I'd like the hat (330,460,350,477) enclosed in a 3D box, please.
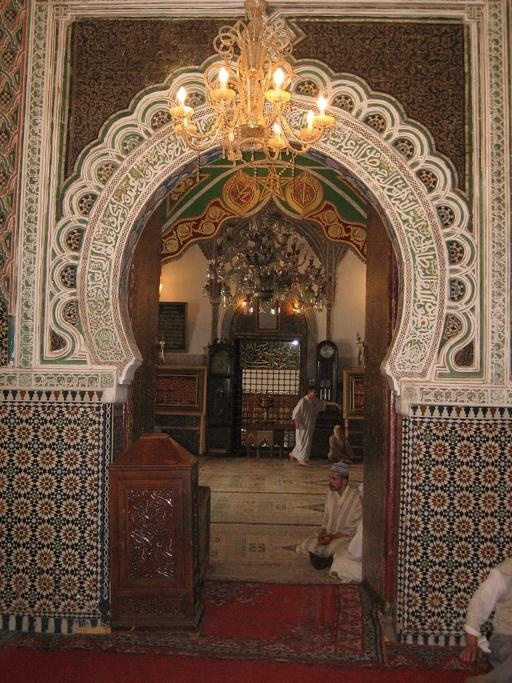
[{"bbox_3d":[0.541,0.820,4.847,0.104,0.075,0.107,0,10,-31],"label":"hat"}]

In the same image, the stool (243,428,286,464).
[{"bbox_3d":[0.079,1.390,10.173,0.555,0.341,0.485,1,0,-38],"label":"stool"}]

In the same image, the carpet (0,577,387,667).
[{"bbox_3d":[-0.188,1.322,3.642,1.524,0.085,1.036,0,-4,3],"label":"carpet"}]

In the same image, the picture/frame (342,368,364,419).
[{"bbox_3d":[1.275,0.703,9.900,0.250,0.641,0.244,1,-5,-1],"label":"picture/frame"}]
